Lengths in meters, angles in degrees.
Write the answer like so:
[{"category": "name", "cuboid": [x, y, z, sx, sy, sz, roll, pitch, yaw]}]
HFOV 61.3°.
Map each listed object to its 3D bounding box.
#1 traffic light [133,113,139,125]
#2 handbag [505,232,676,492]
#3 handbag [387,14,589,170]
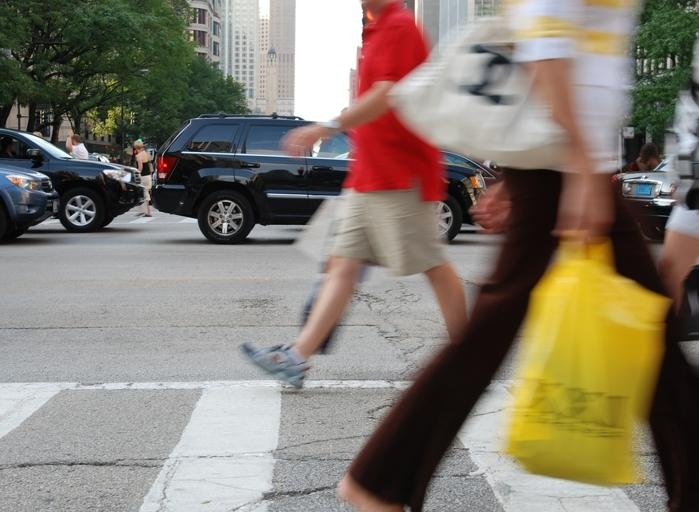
[{"category": "traffic light", "cuboid": [-26.342, -17.119, 72.803, 1.089, 1.173, 0.335, 2, 1, 30]}, {"category": "handbag", "cuboid": [0.668, 0.320, 1.678, 0.407, 0.738, 0.191, 2, 9, 24]}, {"category": "handbag", "cuboid": [0.428, -0.477, 1.719, 0.598, 0.477, 0.249, 10, -10, -9]}]
